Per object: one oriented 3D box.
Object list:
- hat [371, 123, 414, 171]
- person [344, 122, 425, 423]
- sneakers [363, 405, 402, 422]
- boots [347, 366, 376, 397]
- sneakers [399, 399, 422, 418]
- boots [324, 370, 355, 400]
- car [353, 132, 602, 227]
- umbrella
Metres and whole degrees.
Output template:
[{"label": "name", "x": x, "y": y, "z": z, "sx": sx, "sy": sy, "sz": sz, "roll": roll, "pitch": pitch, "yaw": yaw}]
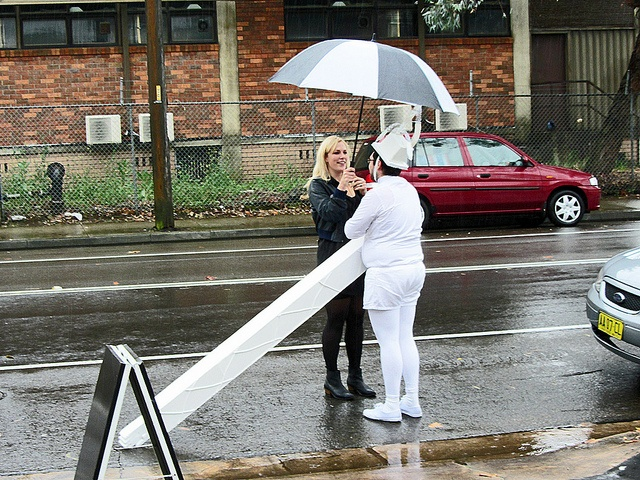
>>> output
[{"label": "hat", "x": 0.774, "y": -0.989, "z": 11.176, "sx": 0.385, "sy": 0.440, "sz": 0.491, "roll": 1, "pitch": 12, "yaw": 17}, {"label": "person", "x": 0.736, "y": 0.404, "z": 11.106, "sx": 0.805, "sy": 3.024, "sz": 0.587, "roll": -6, "pitch": 12, "yaw": -15}, {"label": "sneakers", "x": 0.661, "y": 1.849, "z": 11.220, "sx": 0.386, "sy": 0.158, "sz": 0.169, "roll": 3, "pitch": -1, "yaw": 11}, {"label": "boots", "x": 0.472, "y": 1.577, "z": 11.748, "sx": 0.405, "sy": 0.267, "sz": 0.170, "roll": 15, "pitch": 20, "yaw": 40}, {"label": "sneakers", "x": 0.964, "y": 1.800, "z": 11.235, "sx": 0.139, "sy": 0.116, "sz": 0.284, "roll": -4, "pitch": 11, "yaw": -18}, {"label": "boots", "x": 0.269, "y": 1.625, "z": 11.622, "sx": 0.423, "sy": 0.270, "sz": 0.191, "roll": 2, "pitch": 4, "yaw": 37}, {"label": "car", "x": 3.036, "y": -1.247, "z": 20.912, "sx": 4.633, "sy": 1.657, "sz": 1.949, "roll": -3, "pitch": 7, "yaw": -8}, {"label": "umbrella", "x": 0.411, "y": -1.496, "z": 11.821, "sx": 2.050, "sy": 1.562, "sz": 1.907, "roll": 11, "pitch": 11, "yaw": 18}]
